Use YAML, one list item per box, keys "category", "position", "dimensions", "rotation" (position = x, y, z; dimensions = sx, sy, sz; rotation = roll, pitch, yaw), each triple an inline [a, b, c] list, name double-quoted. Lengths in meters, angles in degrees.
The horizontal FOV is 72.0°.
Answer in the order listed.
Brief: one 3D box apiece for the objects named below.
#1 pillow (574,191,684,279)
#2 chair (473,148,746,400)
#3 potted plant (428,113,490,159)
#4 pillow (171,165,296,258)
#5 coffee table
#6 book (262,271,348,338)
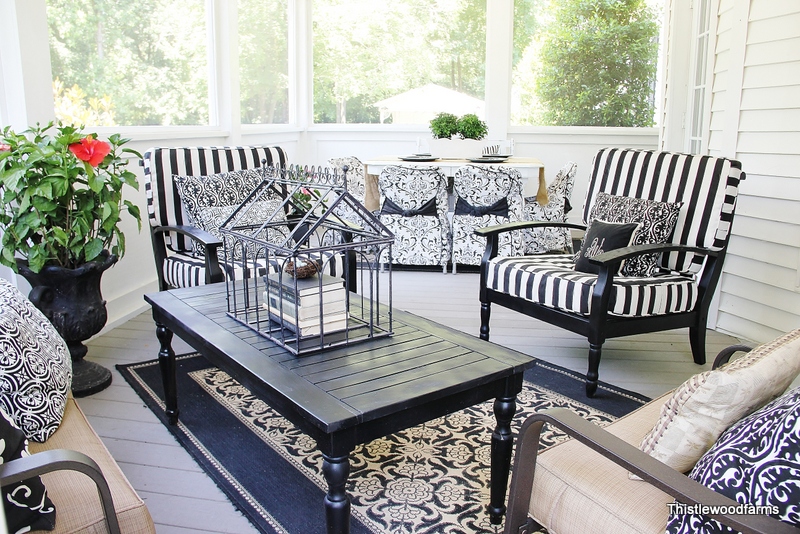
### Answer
- category: "pillow"
  position: [1.502, -0.189, 3.587]
  dimensions: [0.542, 0.469, 0.525]
  rotation: [8, 19, 25]
- category: "chair"
  position: [1.462, -0.071, 4.151]
  dimensions: [1.845, 1.667, 1.491]
  rotation: [-5, 11, -28]
- category: "potted plant"
  position: [0.682, -1.558, 6.512]
  dimensions: [0.943, 0.628, 0.502]
  rotation: [-2, 16, -2]
- category: "pillow"
  position: [-1.080, -0.334, 3.447]
  dimensions: [0.682, 0.576, 0.324]
  rotation: [-16, 11, -30]
- category: "coffee table"
  position: [-0.188, 0.271, 2.229]
  dimensions: [0.944, 0.708, 1.608]
  rotation: [-9, 17, -35]
- category: "book"
  position: [-0.423, 0.167, 2.392]
  dimensions: [0.280, 0.188, 0.390]
  rotation: [-7, 14, -29]
